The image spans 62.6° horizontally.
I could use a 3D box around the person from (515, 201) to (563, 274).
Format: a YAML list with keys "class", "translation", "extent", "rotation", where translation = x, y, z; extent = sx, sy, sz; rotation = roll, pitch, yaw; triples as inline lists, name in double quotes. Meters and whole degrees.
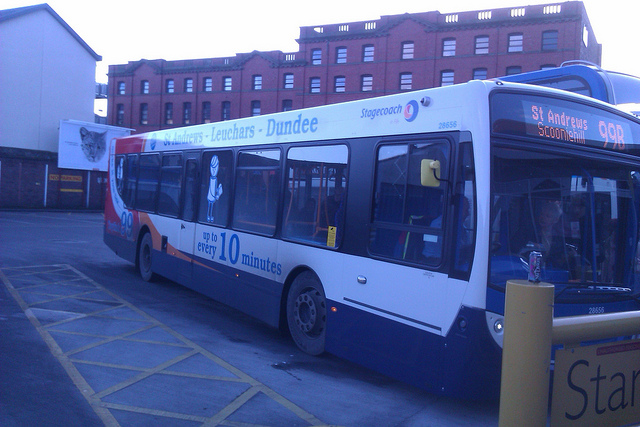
- class: "person"
  translation: [2.810, 0.286, 6.642]
  extent: [0.770, 0.901, 0.208]
  rotation: [-1, 6, -35]

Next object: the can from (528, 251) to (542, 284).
- class: "can"
  translation: [2.009, 0.491, 4.923]
  extent: [0.108, 0.284, 0.269]
  rotation: [4, 5, 22]

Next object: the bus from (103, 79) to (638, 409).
- class: "bus"
  translation: [-1.057, -0.112, 11.408]
  extent: [3.001, 4.421, 13.820]
  rotation: [-3, 8, -43]
